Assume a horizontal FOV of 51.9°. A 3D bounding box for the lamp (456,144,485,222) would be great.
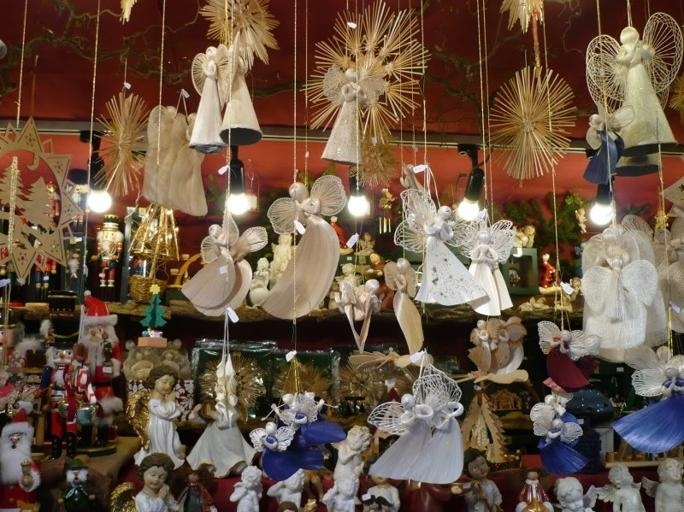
[{"bbox_3d":[0.901,-0.514,4.923,0.166,0.612,0.132,-1,-9,25],"label":"lamp"}]
